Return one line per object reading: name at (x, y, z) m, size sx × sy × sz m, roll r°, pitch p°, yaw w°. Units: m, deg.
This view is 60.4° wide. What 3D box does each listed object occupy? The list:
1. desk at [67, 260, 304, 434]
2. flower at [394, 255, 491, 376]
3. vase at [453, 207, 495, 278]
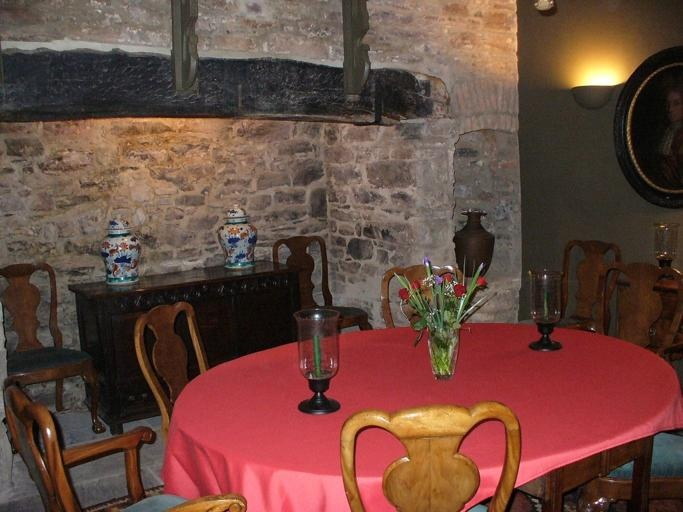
desk at (-0.883, 0.475, 3.050) m, size 0.865 × 0.566 × 0.308 m, roll -13°, pitch 21°, yaw -35°
flower at (0.393, 0.302, 2.912) m, size 0.400 × 0.516 × 0.380 m, roll -1°, pitch 4°, yaw -12°
vase at (0.924, -0.045, 4.059) m, size 0.245 × 0.411 × 0.259 m, roll 4°, pitch -27°, yaw 8°
